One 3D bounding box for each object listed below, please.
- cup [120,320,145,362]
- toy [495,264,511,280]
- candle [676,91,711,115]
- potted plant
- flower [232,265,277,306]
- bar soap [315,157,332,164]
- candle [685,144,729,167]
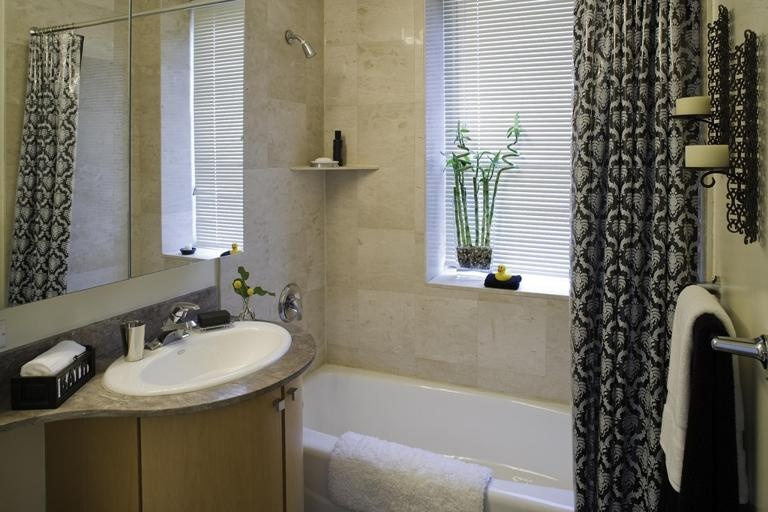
[{"bbox_3d":[-1.042,0.352,2.540,0.097,0.161,0.078,-3,9,-32],"label":"cup"},{"bbox_3d":[0.708,0.099,3.704,0.087,0.082,0.086,-11,-6,-43],"label":"toy"},{"bbox_3d":[1.201,-0.609,2.393,0.091,0.053,0.091,0,6,-2],"label":"candle"},{"bbox_3d":[0.596,-0.409,3.859,0.484,0.986,0.198,4,8,10],"label":"potted plant"},{"bbox_3d":[-0.712,0.124,3.182,0.219,0.085,0.201,24,15,35],"label":"flower"},{"bbox_3d":[-0.356,-0.574,3.662,0.116,0.038,0.127,3,8,6],"label":"bar soap"},{"bbox_3d":[1.214,-0.367,2.282,0.100,0.058,0.099,-1,5,-25],"label":"candle"}]
